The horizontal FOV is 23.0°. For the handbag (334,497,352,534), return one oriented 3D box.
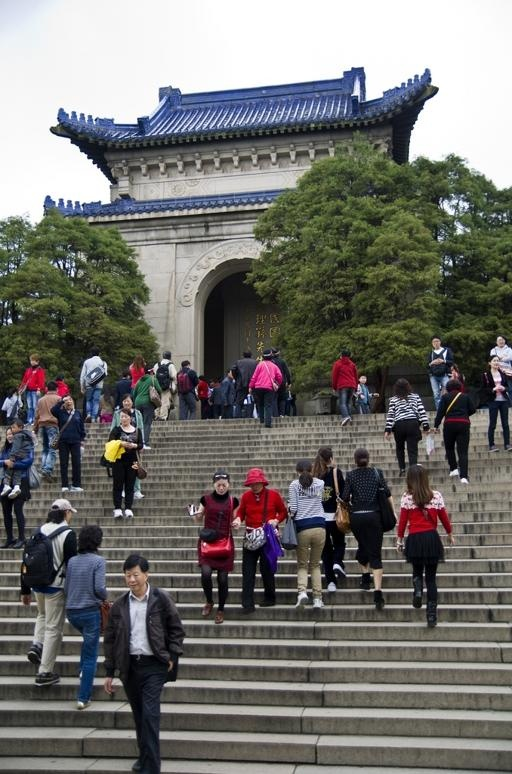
[{"bbox_3d":[0.813,1.215,11.606,0.101,0.301,0.281,-2,-18,6],"label":"handbag"}]

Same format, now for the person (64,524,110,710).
[{"bbox_3d":[-1.353,1.869,10.080,0.335,1.459,0.357,0,-6,-8],"label":"person"}]

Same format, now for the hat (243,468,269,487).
[{"bbox_3d":[0.010,0.857,11.577,0.172,0.135,0.195,-6,-8,32],"label":"hat"}]

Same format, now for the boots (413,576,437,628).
[{"bbox_3d":[1.456,1.875,10.749,0.131,0.478,0.304,-1,23,7],"label":"boots"}]

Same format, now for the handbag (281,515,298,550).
[{"bbox_3d":[0.314,1.334,11.298,0.126,0.311,0.297,2,-29,6],"label":"handbag"}]

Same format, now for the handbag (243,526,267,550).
[{"bbox_3d":[-0.013,1.398,11.335,0.147,0.239,0.203,7,-6,-19],"label":"handbag"}]

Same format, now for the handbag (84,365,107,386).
[{"bbox_3d":[-2.395,-0.096,18.704,0.295,0.253,0.102,-6,-23,35],"label":"handbag"}]

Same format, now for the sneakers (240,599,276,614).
[{"bbox_3d":[0.020,2.007,11.367,0.106,0.172,0.371,-9,-23,29],"label":"sneakers"}]

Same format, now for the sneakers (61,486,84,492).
[{"bbox_3d":[-2.236,1.293,15.519,0.264,0.124,0.098,-2,-4,6],"label":"sneakers"}]

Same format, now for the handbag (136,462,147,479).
[{"bbox_3d":[-1.334,1.023,14.800,0.119,0.265,0.245,-1,-17,-9],"label":"handbag"}]

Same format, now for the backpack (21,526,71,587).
[{"bbox_3d":[-1.698,1.434,10.347,0.352,0.533,0.288,-14,-25,36],"label":"backpack"}]

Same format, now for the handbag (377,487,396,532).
[{"bbox_3d":[1.174,1.128,11.293,0.160,0.379,0.135,-1,-6,2],"label":"handbag"}]

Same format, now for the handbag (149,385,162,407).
[{"bbox_3d":[-1.336,0.152,16.804,0.079,0.210,0.209,-7,-32,8],"label":"handbag"}]

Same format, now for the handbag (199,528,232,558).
[{"bbox_3d":[-0.352,1.422,11.212,0.218,0.260,0.100,1,-7,2],"label":"handbag"}]

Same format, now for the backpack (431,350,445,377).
[{"bbox_3d":[2.452,-0.256,16.899,0.160,0.279,0.270,-1,-16,9],"label":"backpack"}]

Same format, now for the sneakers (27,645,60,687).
[{"bbox_3d":[-1.754,2.364,10.403,0.141,0.224,0.465,0,-15,4],"label":"sneakers"}]

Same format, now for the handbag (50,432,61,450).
[{"bbox_3d":[-2.453,0.676,15.490,0.071,0.228,0.157,5,-18,-6],"label":"handbag"}]
